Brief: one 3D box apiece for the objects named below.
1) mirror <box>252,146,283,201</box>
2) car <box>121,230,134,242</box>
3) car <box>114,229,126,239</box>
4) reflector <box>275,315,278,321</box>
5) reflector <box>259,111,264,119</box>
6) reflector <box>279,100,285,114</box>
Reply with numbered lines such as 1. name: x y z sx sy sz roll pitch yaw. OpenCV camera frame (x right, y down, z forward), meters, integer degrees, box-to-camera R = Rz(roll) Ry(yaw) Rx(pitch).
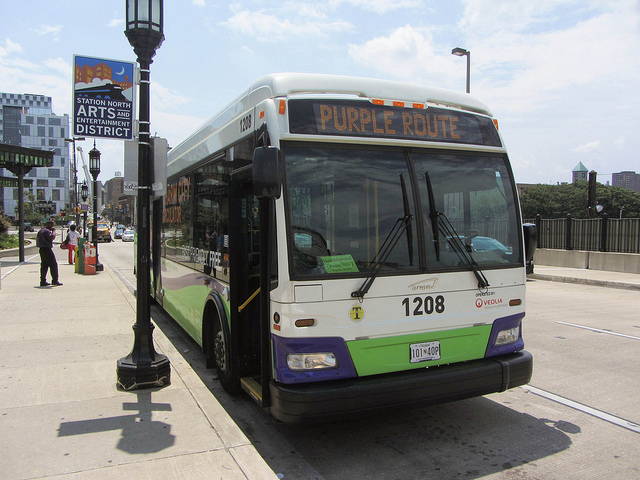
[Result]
1. mirror: -0.524 -0.628 4.931 0.228 0.561 0.204 1 -1 -35
2. car: -22.455 -0.184 57.515 1.318 1.095 3.078 0 -2 -28
3. car: -27.257 -0.488 67.141 1.174 0.639 1.996 0 8 -16
4. reflector: -0.455 0.814 5.112 0.006 0.029 0.028 -3 27 -24
5. reflector: -0.649 -1.327 5.451 0.015 0.120 0.113 2 1 -28
6. reflector: -0.406 -1.348 5.212 0.053 0.147 0.044 0 4 -6
